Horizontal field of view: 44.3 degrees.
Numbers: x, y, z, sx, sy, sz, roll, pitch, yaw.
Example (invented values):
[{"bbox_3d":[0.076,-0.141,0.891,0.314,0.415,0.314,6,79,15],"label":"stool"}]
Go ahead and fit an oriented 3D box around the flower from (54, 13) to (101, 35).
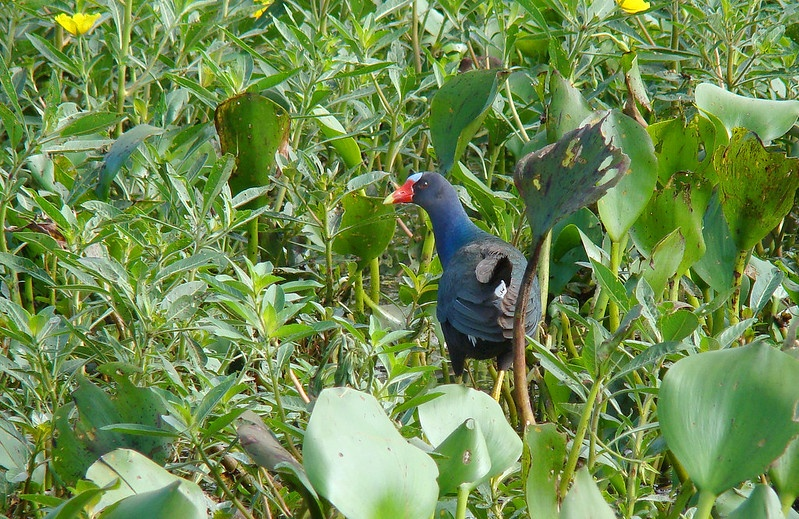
[{"bbox_3d":[-0.944,-0.676,2.842,0.106,0.051,0.094,1,0,-14],"label":"flower"}]
